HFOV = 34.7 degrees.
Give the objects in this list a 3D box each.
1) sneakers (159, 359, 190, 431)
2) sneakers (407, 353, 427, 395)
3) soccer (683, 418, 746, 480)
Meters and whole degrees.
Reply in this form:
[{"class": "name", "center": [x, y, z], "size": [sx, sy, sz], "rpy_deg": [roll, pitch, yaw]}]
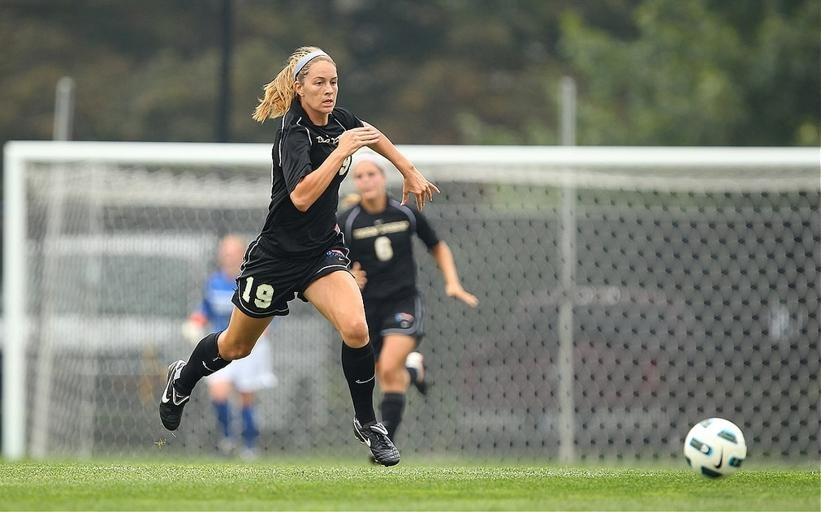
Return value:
[{"class": "sneakers", "center": [-2.154, 1.268, 11.782], "size": [0.222, 0.687, 0.293], "rpy_deg": [5, 2, -37]}, {"class": "sneakers", "center": [0.071, 1.171, 13.078], "size": [0.151, 0.464, 0.202], "rpy_deg": [-9, 51, 5]}, {"class": "soccer", "center": [2.685, 1.661, 11.530], "size": [0.501, 0.503, 0.486], "rpy_deg": [0, 42, 18]}]
